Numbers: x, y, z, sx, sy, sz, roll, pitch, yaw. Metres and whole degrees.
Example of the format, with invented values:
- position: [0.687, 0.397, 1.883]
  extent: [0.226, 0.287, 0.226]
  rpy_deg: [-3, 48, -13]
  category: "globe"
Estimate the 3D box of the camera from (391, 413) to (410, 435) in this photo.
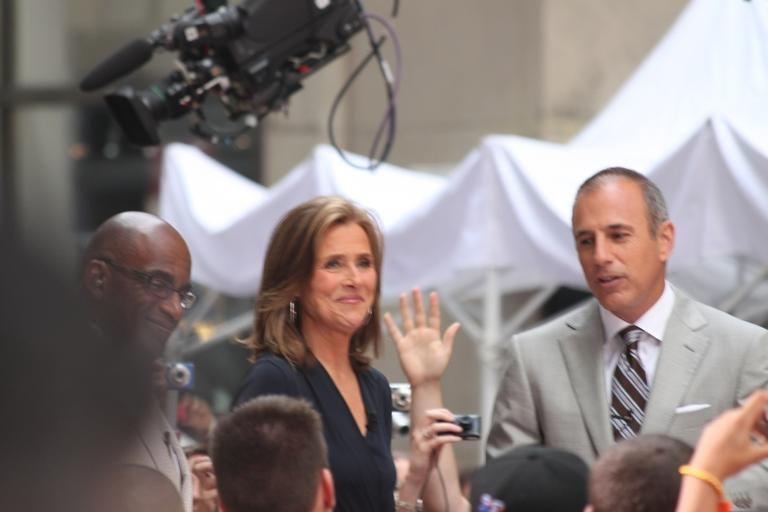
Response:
- position: [0.088, 0.866, 6.984]
  extent: [0.123, 0.115, 0.033]
  rpy_deg: [1, -12, -28]
  category: "camera"

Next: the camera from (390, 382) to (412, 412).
- position: [0.085, 0.709, 6.765]
  extent: [0.118, 0.122, 0.129]
  rpy_deg: [2, -8, -13]
  category: "camera"
